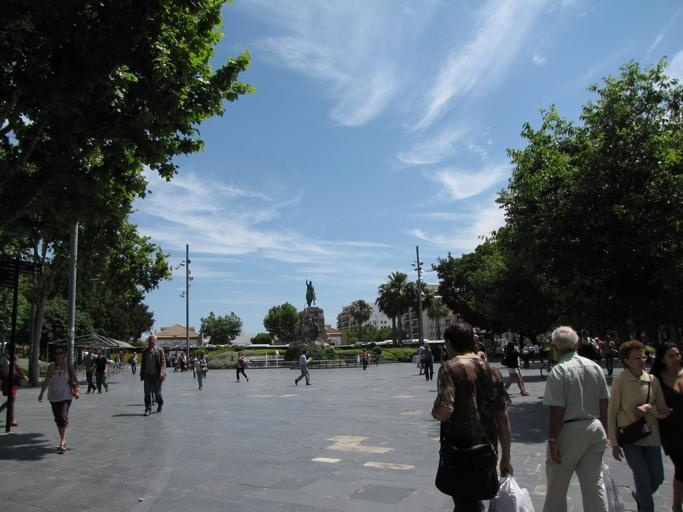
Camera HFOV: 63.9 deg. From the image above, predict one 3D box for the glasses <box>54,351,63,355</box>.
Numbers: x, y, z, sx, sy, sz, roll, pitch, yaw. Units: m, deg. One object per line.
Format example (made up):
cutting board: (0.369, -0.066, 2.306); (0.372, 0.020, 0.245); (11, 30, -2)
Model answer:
glasses: (-5.327, 1.847, 10.346); (0.162, 0.096, 0.135); (-1, -11, -1)

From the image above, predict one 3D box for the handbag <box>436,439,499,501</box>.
handbag: (1.279, 2.156, 5.524); (0.642, 0.657, 0.346); (0, -3, 14)

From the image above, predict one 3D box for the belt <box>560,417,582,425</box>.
belt: (2.543, 1.821, 6.046); (0.188, 0.057, 0.037); (-2, -11, 1)

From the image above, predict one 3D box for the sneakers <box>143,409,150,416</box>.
sneakers: (-5.115, 4.139, 14.452); (0.104, 0.132, 0.307); (3, -25, -10)

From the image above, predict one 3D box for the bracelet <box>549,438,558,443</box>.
bracelet: (2.318, 2.028, 6.013); (0.062, 0.016, 0.064); (-2, -4, -3)

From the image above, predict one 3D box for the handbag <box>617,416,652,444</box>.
handbag: (3.509, 2.101, 6.557); (0.364, 0.279, 0.135); (-27, -18, 6)
